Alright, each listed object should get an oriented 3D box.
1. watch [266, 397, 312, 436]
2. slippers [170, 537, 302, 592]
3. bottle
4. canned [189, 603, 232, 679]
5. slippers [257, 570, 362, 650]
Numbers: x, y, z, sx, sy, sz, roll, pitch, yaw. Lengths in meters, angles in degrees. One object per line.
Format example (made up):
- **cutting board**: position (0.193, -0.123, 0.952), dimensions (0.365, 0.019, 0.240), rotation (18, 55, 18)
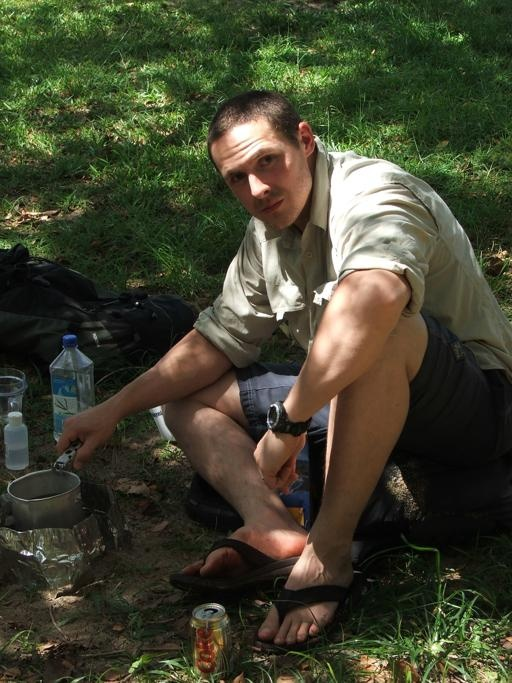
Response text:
- **watch**: position (0.064, 0.183, 1.701), dimensions (0.126, 0.065, 0.117), rotation (6, 1, -16)
- **slippers**: position (-0.019, 0.587, 1.794), dimensions (0.433, 0.110, 0.136), rotation (3, -27, -25)
- **bottle**: position (-0.713, 0.159, 2.653), dimensions (0.335, 0.612, 0.252), rotation (8, 19, 29)
- **canned**: position (-0.097, 0.635, 1.454), dimensions (0.078, 0.145, 0.092), rotation (5, 19, 23)
- **slippers**: position (0.130, 0.630, 1.634), dimensions (0.140, 0.090, 0.298), rotation (8, 18, 32)
